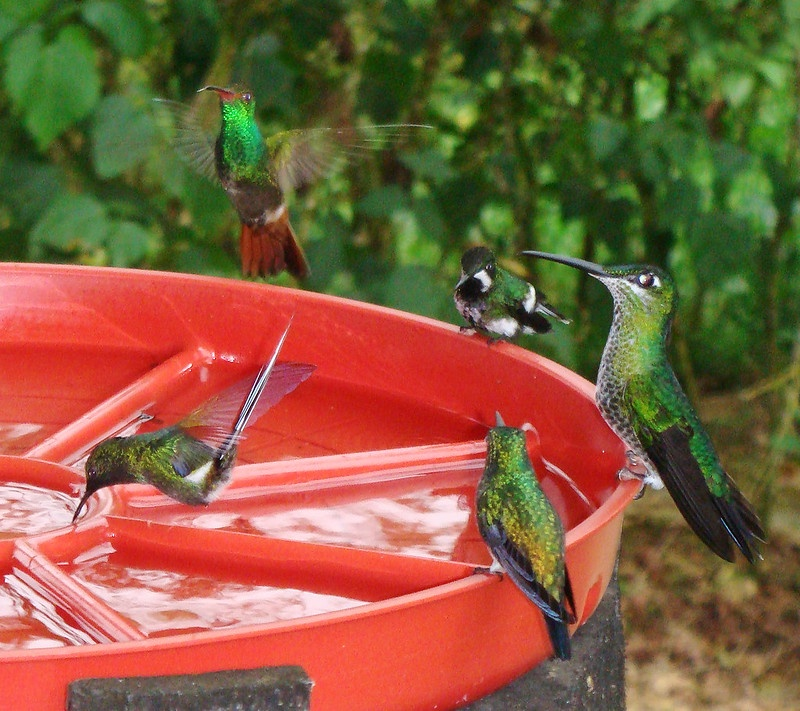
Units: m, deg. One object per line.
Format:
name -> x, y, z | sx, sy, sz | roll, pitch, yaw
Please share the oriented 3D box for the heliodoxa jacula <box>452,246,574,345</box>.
heliodoxa jacula -> 0.242, -0.136, 2.712 | 0.255, 0.210, 0.154 | 1, 2, -30
